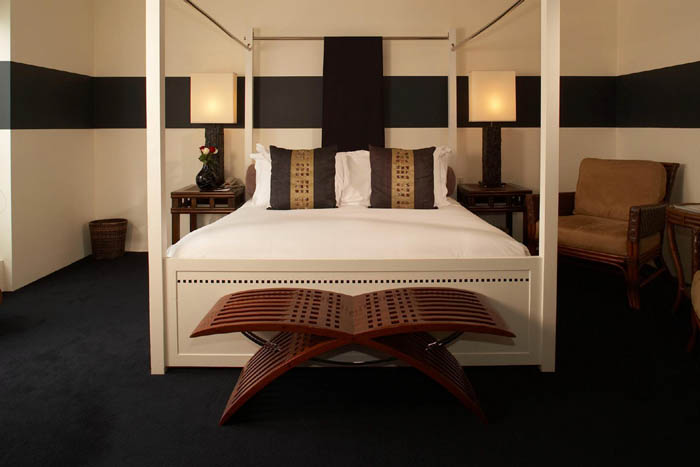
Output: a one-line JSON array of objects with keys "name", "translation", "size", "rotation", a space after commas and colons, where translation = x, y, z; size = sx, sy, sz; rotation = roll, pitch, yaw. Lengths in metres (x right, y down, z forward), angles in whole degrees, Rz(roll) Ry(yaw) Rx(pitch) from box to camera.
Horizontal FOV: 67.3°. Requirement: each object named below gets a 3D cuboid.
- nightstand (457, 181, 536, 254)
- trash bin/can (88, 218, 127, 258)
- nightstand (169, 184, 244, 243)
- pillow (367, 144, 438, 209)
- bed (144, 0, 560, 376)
[{"name": "nightstand", "translation": [1.609, -0.195, 5.732], "size": [0.801, 1.110, 0.702], "rotation": [-1, 10, -2]}, {"name": "trash bin/can", "translation": [-2.858, 0.066, 6.227], "size": [0.384, 0.412, 0.459], "rotation": [1, 0, 9]}, {"name": "nightstand", "translation": [-1.669, -0.303, 6.129], "size": [0.702, 0.776, 0.734], "rotation": [-1, 6, -6]}, {"name": "pillow", "translation": [0.486, -0.509, 4.955], "size": [0.524, 0.553, 0.193], "rotation": [0, -15, 3]}, {"name": "bed", "translation": [0.108, -0.367, 5.121], "size": [2.619, 2.992, 2.625], "rotation": [0, 1, 3]}]
